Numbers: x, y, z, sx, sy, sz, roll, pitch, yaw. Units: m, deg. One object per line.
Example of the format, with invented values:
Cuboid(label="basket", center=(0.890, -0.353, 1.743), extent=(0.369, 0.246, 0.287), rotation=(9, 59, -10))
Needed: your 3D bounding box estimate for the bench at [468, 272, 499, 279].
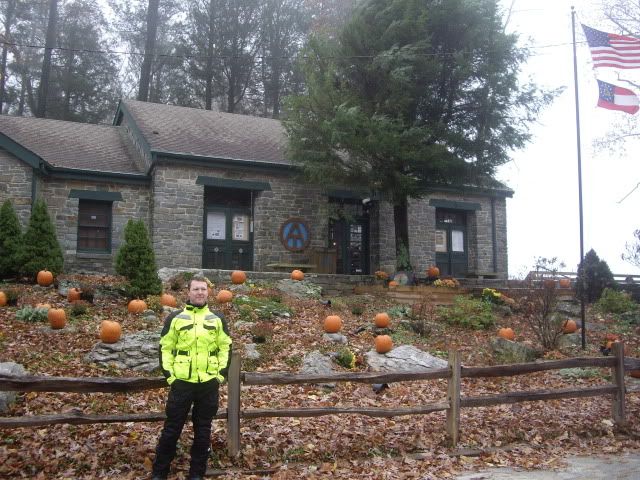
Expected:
Cuboid(label="bench", center=(6.016, 1.351, 22.326), extent=(1.071, 0.212, 1.121), rotation=(1, -2, 21))

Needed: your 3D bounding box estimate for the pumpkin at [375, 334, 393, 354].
Cuboid(label="pumpkin", center=(1.247, 2.114, 12.052), extent=(0.357, 0.325, 0.352), rotation=(5, 7, 33))

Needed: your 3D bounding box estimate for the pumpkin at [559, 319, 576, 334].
Cuboid(label="pumpkin", center=(5.614, 1.999, 13.564), extent=(0.349, 0.263, 0.360), rotation=(-5, -14, -29))

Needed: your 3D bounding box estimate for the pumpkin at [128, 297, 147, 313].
Cuboid(label="pumpkin", center=(-3.884, 1.406, 12.676), extent=(0.298, 0.257, 0.287), rotation=(-1, 6, -25))

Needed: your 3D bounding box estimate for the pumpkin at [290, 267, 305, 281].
Cuboid(label="pumpkin", center=(-0.640, 1.033, 17.234), extent=(0.325, 0.313, 0.325), rotation=(-4, -5, -6))

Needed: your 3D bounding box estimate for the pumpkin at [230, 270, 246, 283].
Cuboid(label="pumpkin", center=(-2.162, 1.016, 15.788), extent=(0.366, 0.347, 0.337), rotation=(2, -2, -10))

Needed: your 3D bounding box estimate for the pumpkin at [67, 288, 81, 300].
Cuboid(label="pumpkin", center=(-5.399, 1.209, 12.936), extent=(0.244, 0.238, 0.257), rotation=(21, 12, 24))

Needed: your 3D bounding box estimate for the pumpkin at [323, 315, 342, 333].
Cuboid(label="pumpkin", center=(0.301, 1.844, 12.958), extent=(0.377, 0.339, 0.365), rotation=(-1, 4, -27))

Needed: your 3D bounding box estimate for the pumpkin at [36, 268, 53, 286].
Cuboid(label="pumpkin", center=(-6.405, 0.870, 13.780), extent=(0.356, 0.410, 0.359), rotation=(7, -9, -31))

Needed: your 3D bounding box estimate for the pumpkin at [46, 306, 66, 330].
Cuboid(label="pumpkin", center=(-5.007, 1.523, 11.360), extent=(0.305, 0.371, 0.292), rotation=(3, -3, -29))

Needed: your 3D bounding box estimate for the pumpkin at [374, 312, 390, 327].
Cuboid(label="pumpkin", center=(1.429, 1.821, 13.433), extent=(0.321, 0.284, 0.321), rotation=(-5, -3, 27))

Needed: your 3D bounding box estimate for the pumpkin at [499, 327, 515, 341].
Cuboid(label="pumpkin", center=(4.178, 2.115, 13.360), extent=(0.307, 0.277, 0.310), rotation=(-3, 4, -5))

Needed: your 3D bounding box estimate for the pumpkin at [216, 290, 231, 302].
Cuboid(label="pumpkin", center=(-2.231, 1.292, 13.702), extent=(0.340, 0.268, 0.275), rotation=(-10, -24, 11))

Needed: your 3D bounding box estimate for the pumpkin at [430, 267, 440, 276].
Cuboid(label="pumpkin", center=(3.911, 1.108, 20.369), extent=(0.270, 0.234, 0.266), rotation=(-7, 2, -42))

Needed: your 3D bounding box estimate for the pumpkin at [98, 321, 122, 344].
Cuboid(label="pumpkin", center=(-3.775, 1.672, 10.781), extent=(0.415, 0.442, 0.392), rotation=(7, -8, -3))

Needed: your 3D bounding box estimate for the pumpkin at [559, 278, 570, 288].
Cuboid(label="pumpkin", center=(8.064, 1.440, 19.650), extent=(0.387, 0.286, 0.352), rotation=(-1, 0, 19))
